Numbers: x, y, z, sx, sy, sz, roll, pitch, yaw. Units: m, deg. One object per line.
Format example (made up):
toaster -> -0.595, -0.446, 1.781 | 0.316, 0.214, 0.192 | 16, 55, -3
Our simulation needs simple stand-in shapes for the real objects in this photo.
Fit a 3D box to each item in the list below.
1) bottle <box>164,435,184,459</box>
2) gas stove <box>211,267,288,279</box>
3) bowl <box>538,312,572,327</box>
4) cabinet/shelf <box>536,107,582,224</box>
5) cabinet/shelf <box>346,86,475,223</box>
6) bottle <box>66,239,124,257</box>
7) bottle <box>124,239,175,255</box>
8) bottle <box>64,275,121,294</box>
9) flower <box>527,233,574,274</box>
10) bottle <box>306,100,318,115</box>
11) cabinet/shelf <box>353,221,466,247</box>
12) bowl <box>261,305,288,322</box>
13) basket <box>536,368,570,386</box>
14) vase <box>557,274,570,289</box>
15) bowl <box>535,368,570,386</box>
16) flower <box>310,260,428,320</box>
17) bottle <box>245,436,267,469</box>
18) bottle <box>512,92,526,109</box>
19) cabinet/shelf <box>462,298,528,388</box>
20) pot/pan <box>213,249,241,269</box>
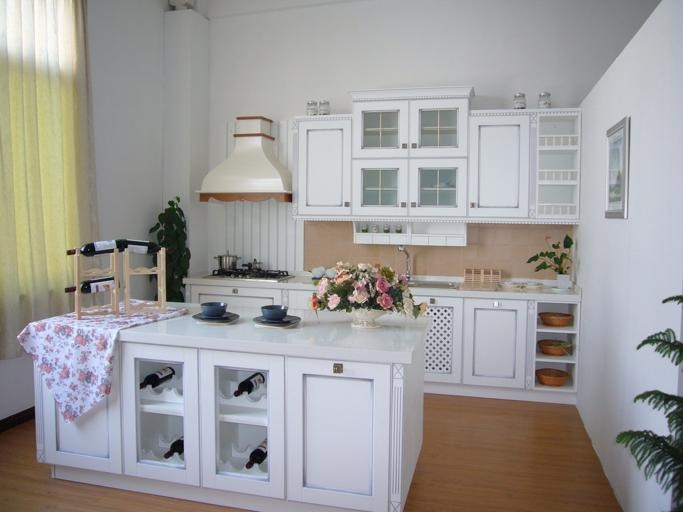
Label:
bottle -> -1.104, 1.262, 3.672 | 0.073, 0.073, 0.177 | 3, 8, 3
gas stove -> -1.029, 0.189, 6.110 | 0.900, 0.090, 0.435 | 2, 11, 10
bowl -> 2.034, 0.594, 5.258 | 0.299, 0.117, 0.264 | 3, 12, 15
cabinet/shelf -> 2.067, -0.869, 5.300 | 0.426, 1.010, 0.430 | 4, 12, 19
cabinet/shelf -> 0.725, -1.009, 5.483 | 1.291, 1.375, 0.511 | 0, 2, 14
bottle -> -1.721, -0.059, 3.819 | 0.543, 0.151, 0.139 | -1, 2, -40
bottle -> -1.428, -0.070, 4.073 | 0.265, 0.143, 0.308 | -1, 11, -4
bottle -> -1.807, 0.204, 4.008 | 0.252, 0.069, 0.065 | -14, 36, -43
flower -> 2.058, -0.013, 5.452 | 0.416, 0.418, 0.412 | 4, 12, 19
bottle -> -0.319, -1.591, 5.960 | 0.120, 0.186, 0.429 | -1, 11, -4
cabinet/shelf -> 0.699, -0.220, 5.780 | 1.188, 0.307, 0.310 | 3, 12, 15
bowl -> -0.456, 0.380, 3.723 | 0.123, 0.062, 0.121 | -2, 2, 0
basket -> 1.994, 1.125, 5.195 | 0.182, 0.080, 0.186 | -7, 7, -12
vase -> 2.133, 0.238, 5.358 | 0.126, 0.144, 0.127 | 4, 6, 33
bowl -> 1.989, 1.126, 5.193 | 0.182, 0.080, 0.187 | -5, 6, 1
flower -> 0.181, 0.214, 3.647 | 0.465, 0.212, 0.475 | 5, 6, 31
bottle -> -0.545, 1.253, 3.544 | 0.141, 0.204, 0.182 | -2, 11, -11
bottle -> 1.757, -1.523, 5.451 | 0.125, 0.177, 0.339 | 4, 12, 16
cabinet/shelf -> 1.463, 0.781, 5.441 | 0.757, 1.128, 0.727 | 0, 0, 15
pot/pan -> -1.347, 0.063, 6.357 | 0.331, 0.214, 0.327 | 2, 11, 8
